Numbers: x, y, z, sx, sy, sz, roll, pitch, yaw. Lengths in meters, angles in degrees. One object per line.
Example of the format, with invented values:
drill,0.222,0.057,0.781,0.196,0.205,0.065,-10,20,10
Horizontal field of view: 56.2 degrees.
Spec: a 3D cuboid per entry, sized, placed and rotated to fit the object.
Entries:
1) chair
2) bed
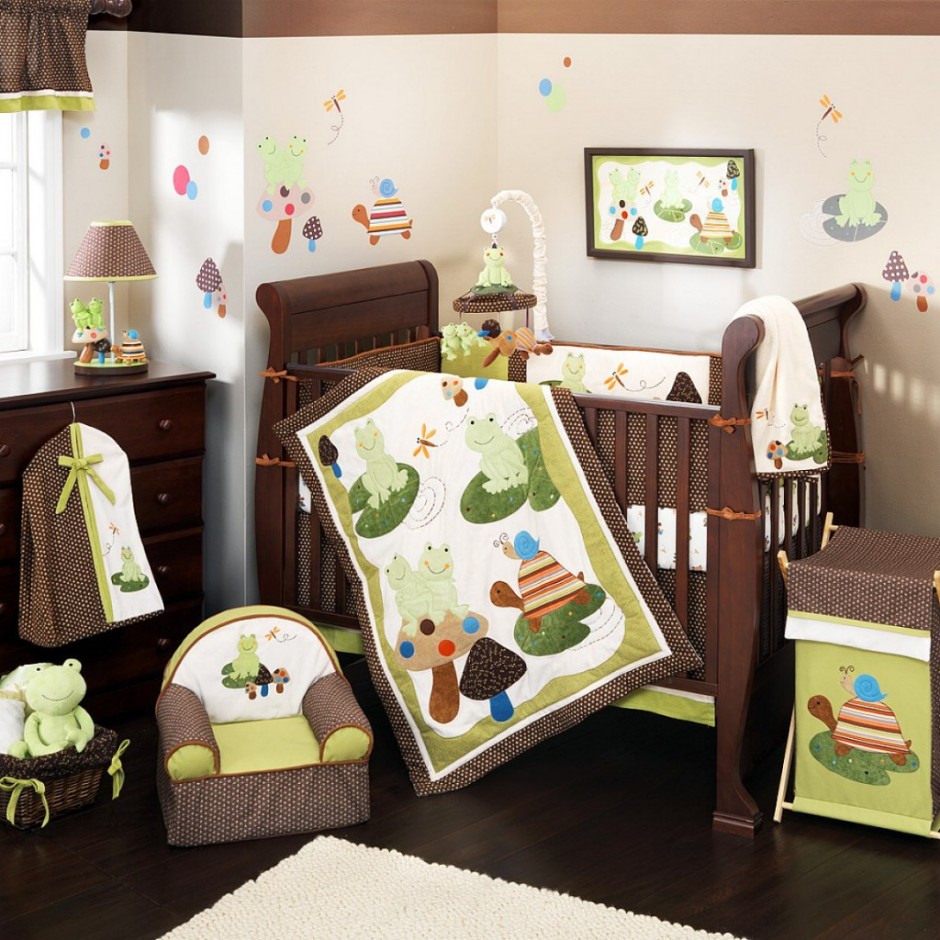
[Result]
chair,-0.510,0.507,2.135,0.511,0.438,0.494,-3,17,-17
bed,0.356,0.131,2.736,1.861,1.461,1.113,8,17,22
